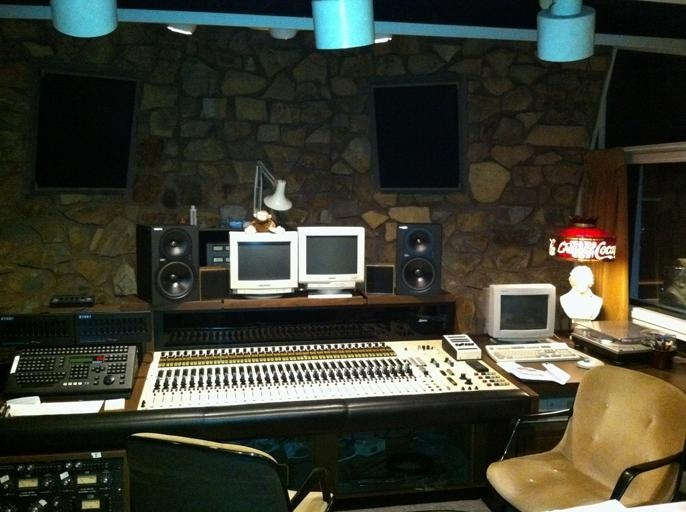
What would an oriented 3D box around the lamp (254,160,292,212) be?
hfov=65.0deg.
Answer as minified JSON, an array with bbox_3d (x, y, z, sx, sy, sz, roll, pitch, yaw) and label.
[{"bbox_3d":[-0.542,-0.537,4.061,0.280,0.391,0.331,-2,2,-8],"label":"lamp"}]

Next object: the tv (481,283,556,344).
[{"bbox_3d":[1.266,0.374,4.089,0.755,0.522,0.388,-1,3,0],"label":"tv"}]

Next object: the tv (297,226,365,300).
[{"bbox_3d":[-0.089,0.040,3.786,0.641,0.518,0.329,0,2,-7],"label":"tv"}]

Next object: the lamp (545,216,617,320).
[{"bbox_3d":[1.826,0.101,4.094,0.441,0.786,0.664,-1,2,24],"label":"lamp"}]

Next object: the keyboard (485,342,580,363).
[{"bbox_3d":[1.300,0.660,3.709,0.632,0.084,0.331,-1,2,-9],"label":"keyboard"}]

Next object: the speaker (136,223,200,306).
[{"bbox_3d":[-1.164,0.057,3.623,0.382,0.524,0.387,-3,2,-22],"label":"speaker"}]
